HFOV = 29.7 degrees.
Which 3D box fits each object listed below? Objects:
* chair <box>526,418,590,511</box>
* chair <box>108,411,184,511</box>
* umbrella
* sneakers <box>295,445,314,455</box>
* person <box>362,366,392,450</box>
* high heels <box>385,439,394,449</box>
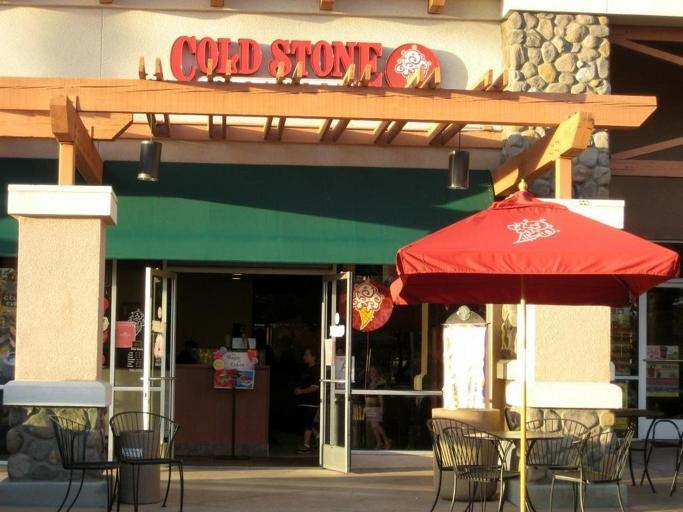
[{"bbox_3d":[2.823,2.628,16.789,1.063,1.560,1.006,0,-12,8],"label":"chair"},{"bbox_3d":[-2.629,2.747,17.150,0.766,1.201,0.724,8,-24,-31],"label":"chair"},{"bbox_3d":[2.189,1.008,15.815,3.298,4.952,3.489,0,-6,1],"label":"umbrella"},{"bbox_3d":[-0.566,3.058,20.476,0.245,0.161,0.620,-1,-10,-1],"label":"sneakers"},{"bbox_3d":[0.537,2.210,18.981,0.365,1.199,0.093,2,-9,-15],"label":"person"},{"bbox_3d":[0.702,2.751,18.914,0.065,0.180,0.060,2,-19,-15],"label":"high heels"}]
